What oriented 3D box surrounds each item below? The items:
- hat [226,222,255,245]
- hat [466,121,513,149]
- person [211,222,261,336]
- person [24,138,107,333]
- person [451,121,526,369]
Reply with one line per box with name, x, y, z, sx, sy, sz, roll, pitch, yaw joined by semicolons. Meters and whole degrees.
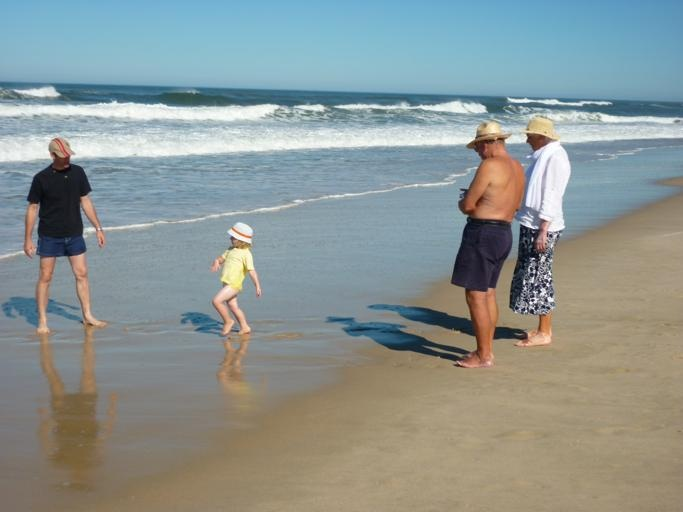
hat;-1.010;-0.228;8.358;0.203;0.222;0.318;-6;13;-4
hat;1.225;-1.033;7.406;0.418;0.120;0.335;-12;2;30
person;-1.156;0.148;8.847;0.546;1.134;1.372;-7;13;-6
person;-2.866;-0.222;8.491;0.821;1.943;0.649;-10;17;-13
person;1.280;-0.097;7.457;0.540;2.179;0.723;2;18;25
